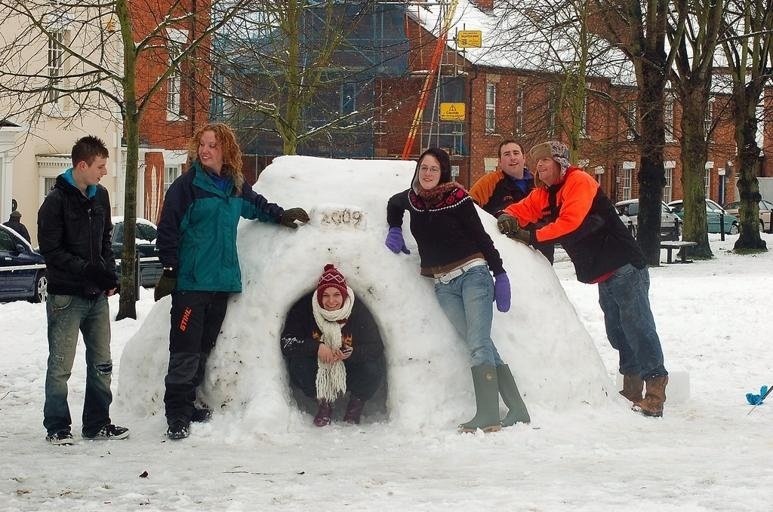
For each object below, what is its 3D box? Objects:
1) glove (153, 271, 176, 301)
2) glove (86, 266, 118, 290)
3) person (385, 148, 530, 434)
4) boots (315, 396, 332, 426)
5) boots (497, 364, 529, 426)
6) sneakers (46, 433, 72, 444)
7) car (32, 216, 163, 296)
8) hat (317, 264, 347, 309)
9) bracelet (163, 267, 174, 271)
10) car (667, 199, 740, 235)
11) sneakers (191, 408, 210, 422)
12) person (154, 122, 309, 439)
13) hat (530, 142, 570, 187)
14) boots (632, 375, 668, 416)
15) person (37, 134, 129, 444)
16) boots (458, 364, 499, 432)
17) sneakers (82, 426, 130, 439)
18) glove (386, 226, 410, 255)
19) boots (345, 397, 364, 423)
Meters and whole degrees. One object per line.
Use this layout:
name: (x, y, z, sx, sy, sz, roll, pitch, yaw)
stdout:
glove: (-2.264, 0.298, 10.120, 0.229, 0.327, 0.162, 2, 11, 10)
glove: (-2.851, 0.206, 10.022, 0.274, 0.200, 0.082, 35, 27, 11)
person: (0.768, 0.291, 10.305, 0.739, 2.755, 1.565, -9, 14, -40)
boots: (-0.663, 1.627, 10.466, 0.186, 0.269, 0.350, 1, 11, 7)
boots: (1.312, 1.404, 10.109, 0.349, 0.611, 0.193, 0, 10, -1)
sneakers: (-3.302, 1.826, 10.007, 0.262, 0.093, 0.106, -3, 0, 29)
car: (-4.819, 0.133, 18.385, 1.530, 1.385, 2.675, 2, 5, 34)
hat: (-0.587, 0.296, 10.482, 0.324, 0.394, 0.416, 0, -13, -4)
bracelet: (-2.213, 0.136, 10.065, 0.095, 0.052, 0.041, 2, 11, 8)
car: (9.459, -1.109, 29.541, 2.315, 1.086, 1.366, -3, 5, -20)
sneakers: (-1.894, 1.625, 10.169, 0.183, 0.111, 0.131, -2, 11, -8)
person: (-1.870, 0.187, 10.347, 0.610, 3.082, 1.465, 8, 13, 36)
hat: (1.831, -0.989, 10.906, 0.455, 0.580, 0.441, 5, -2, 11)
boots: (2.850, 1.485, 10.677, 0.298, 0.406, 0.361, 7, 12, 32)
person: (-3.144, 0.329, 10.052, 0.793, 3.012, 0.706, -3, 11, -17)
boots: (0.981, 1.421, 10.019, 0.463, 0.658, 0.291, -2, 11, -12)
sneakers: (-2.841, 1.787, 10.070, 0.440, 0.180, 0.171, -1, -1, -5)
glove: (0.112, -0.158, 10.566, 0.278, 0.263, 0.073, 12, -14, -28)
boots: (-0.340, 1.636, 10.510, 0.171, 0.283, 0.290, 9, 31, 6)
